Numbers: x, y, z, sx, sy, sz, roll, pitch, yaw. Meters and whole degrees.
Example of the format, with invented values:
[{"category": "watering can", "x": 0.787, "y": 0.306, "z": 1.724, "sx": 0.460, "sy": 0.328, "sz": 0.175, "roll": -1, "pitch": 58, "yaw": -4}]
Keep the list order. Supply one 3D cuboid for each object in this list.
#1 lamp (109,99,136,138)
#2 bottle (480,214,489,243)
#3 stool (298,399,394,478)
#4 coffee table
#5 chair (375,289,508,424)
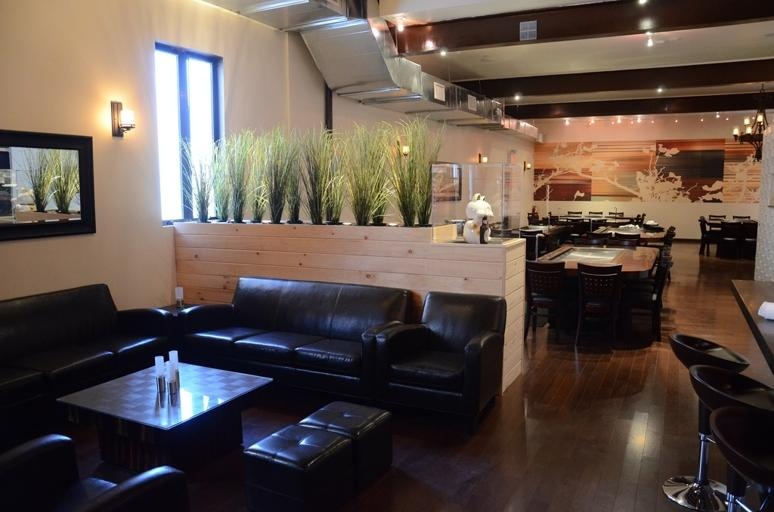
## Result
[{"category": "lamp", "x": -3.021, "y": -1.550, "z": 5.968, "sx": 0.238, "sy": 0.402, "sz": 0.155, "roll": -6, "pitch": 15, "yaw": -23}, {"category": "bottle", "x": 1.014, "y": -0.282, "z": 5.411, "sx": 0.145, "sy": 0.298, "sz": 0.065, "roll": -11, "pitch": 17, "yaw": -37}, {"category": "stool", "x": -0.320, "y": 1.418, "z": 4.208, "sx": 0.571, "sy": 0.479, "sz": 0.583, "roll": 5, "pitch": 9, "yaw": 34}, {"category": "coffee table", "x": -1.879, "y": 1.311, "z": 4.291, "sx": 1.110, "sy": 0.493, "sz": 1.129, "roll": 2, "pitch": 6, "yaw": 28}, {"category": "chair", "x": 0.584, "y": 0.909, "z": 5.284, "sx": 1.074, "sy": 1.243, "sz": 1.252, "roll": 0, "pitch": -3, "yaw": 26}]
